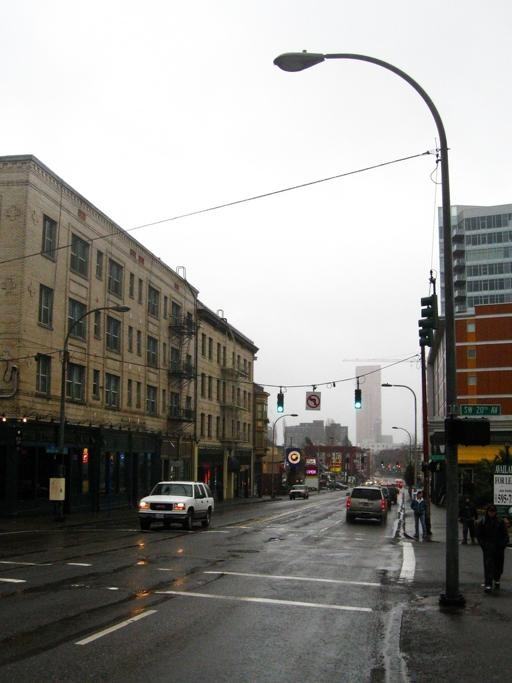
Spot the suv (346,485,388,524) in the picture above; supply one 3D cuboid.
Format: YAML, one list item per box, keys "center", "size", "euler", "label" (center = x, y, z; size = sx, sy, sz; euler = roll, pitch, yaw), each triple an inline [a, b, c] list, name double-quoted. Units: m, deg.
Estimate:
- center: [5.281, 7.641, 33.449]
  size: [1.101, 1.412, 2.310]
  euler: [-1, -4, 10]
  label: "suv"

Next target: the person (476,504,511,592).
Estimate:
- center: [4.327, 3.734, 12.910]
  size: [0.520, 1.458, 1.507]
  euler: [-3, -12, 18]
  label: "person"

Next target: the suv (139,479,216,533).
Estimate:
- center: [-2.884, 6.033, 26.105]
  size: [1.587, 1.714, 3.430]
  euler: [-4, -13, 19]
  label: "suv"
